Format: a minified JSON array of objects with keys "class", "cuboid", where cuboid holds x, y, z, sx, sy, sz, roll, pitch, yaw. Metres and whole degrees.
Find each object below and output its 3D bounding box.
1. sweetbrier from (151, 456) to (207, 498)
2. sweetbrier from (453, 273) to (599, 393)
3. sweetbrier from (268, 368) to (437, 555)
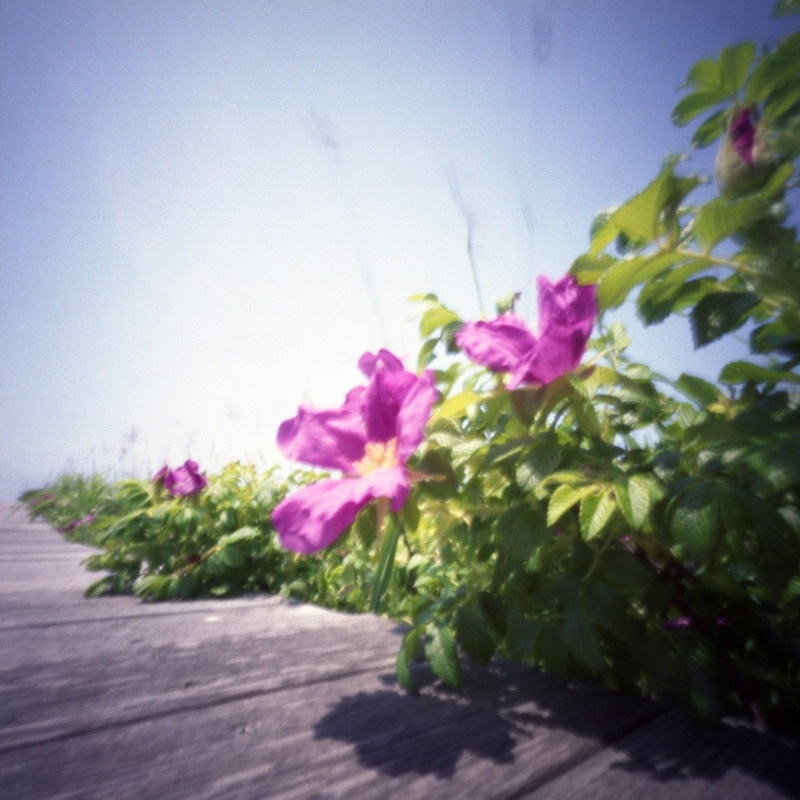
[{"class":"sweetbrier","cuboid":[-1.085,0.397,2.205,0.340,0.168,0.126,-7,-13,22]},{"class":"sweetbrier","cuboid":[0.195,-0.094,0.703,0.130,0.178,0.206,8,-16,-40]},{"class":"sweetbrier","cuboid":[-0.081,0.083,0.700,0.218,0.284,0.288,2,-12,-18]}]
